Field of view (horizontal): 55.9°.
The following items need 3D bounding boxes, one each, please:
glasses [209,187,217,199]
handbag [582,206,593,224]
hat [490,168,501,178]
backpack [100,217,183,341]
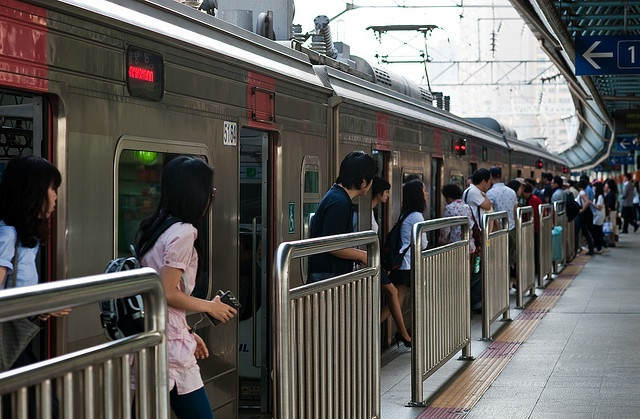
[{"bbox_3d":[-0.662,-0.102,3.729,0.043,0.072,0.060,-2,18,-9],"label":"glasses"},{"bbox_3d":[7.233,0.176,16.256,0.249,0.549,1.188,1,3,25],"label":"handbag"},{"bbox_3d":[3.012,-0.624,10.356,0.178,0.183,0.143,1,6,22],"label":"hat"},{"bbox_3d":[-0.960,0.386,3.525,0.454,0.990,0.593,3,-8,-13],"label":"backpack"}]
